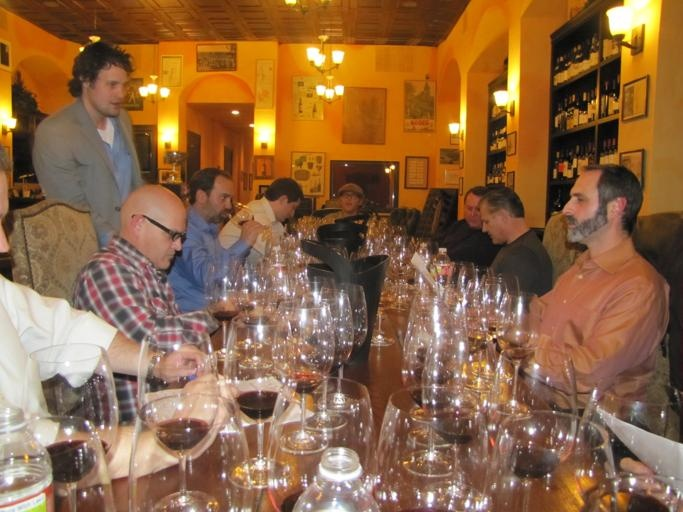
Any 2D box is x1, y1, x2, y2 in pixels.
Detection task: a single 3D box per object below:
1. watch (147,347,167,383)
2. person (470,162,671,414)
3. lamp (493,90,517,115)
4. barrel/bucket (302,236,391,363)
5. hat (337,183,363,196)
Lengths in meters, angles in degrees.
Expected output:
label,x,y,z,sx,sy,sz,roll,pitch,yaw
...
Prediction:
label,x,y,z,sx,sy,sz,roll,pitch,yaw
watch,-0.457,0.275,1.479,0.020,0.065,0.050,9,-10,-28
person,1.018,0.183,3.129,0.765,1.713,1.097,5,3,6
lamp,1.999,-1.892,7.275,0.228,0.335,0.613,3,6,12
barrel/bucket,-0.034,0.135,2.092,0.338,0.565,0.319,-1,5,0
hat,0.114,-0.770,6.869,0.269,0.155,0.384,2,0,4
